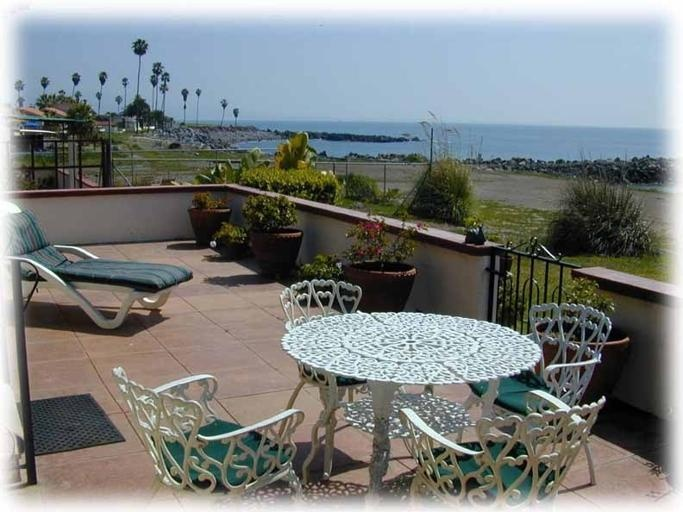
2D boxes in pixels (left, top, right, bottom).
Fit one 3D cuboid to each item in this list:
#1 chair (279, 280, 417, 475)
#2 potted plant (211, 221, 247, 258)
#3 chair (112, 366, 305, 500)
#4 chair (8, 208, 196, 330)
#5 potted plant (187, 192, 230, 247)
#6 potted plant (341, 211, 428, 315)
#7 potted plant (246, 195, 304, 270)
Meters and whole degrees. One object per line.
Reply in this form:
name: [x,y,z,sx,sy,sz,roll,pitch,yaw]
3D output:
chair: [-0.032,0.890,3.692,0.801,1.233,0.860,11,4,-31]
potted plant: [-1.998,-0.317,9.230,0.652,0.568,1.194,-3,13,-22]
chair: [-0.776,1.046,2.973,0.697,0.759,0.570,-15,23,-39]
chair: [-2.870,0.166,5.974,2.470,1.356,1.063,8,13,13]
potted plant: [-2.561,-0.681,9.882,0.855,1.133,0.941,1,3,-3]
potted plant: [0.473,0.099,6.238,1.003,1.303,0.973,1,-2,-3]
potted plant: [-1.070,-0.334,8.019,0.824,1.290,0.923,-4,10,-5]
